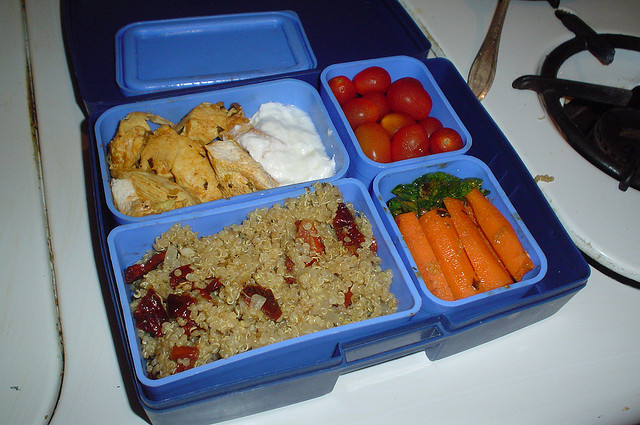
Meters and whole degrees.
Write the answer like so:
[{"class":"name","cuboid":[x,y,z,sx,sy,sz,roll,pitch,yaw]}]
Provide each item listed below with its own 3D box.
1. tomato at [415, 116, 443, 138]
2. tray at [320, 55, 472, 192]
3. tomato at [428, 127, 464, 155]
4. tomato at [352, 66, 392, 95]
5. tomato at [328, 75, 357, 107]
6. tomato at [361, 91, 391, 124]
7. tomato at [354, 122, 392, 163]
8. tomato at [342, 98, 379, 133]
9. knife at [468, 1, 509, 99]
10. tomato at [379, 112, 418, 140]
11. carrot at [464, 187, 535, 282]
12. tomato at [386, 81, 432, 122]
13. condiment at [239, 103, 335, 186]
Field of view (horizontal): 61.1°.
[{"class":"tomato","cuboid":[0.487,-0.388,2.409,0.088,0.054,0.094,22,69,20]},{"class":"tray","cuboid":[0.263,-0.373,2.465,0.593,0.197,0.665,-12,70,-20]},{"class":"tomato","cuboid":[0.551,-0.289,2.397,0.132,0.116,0.120,-17,70,38]},{"class":"tomato","cuboid":[0.230,-0.611,2.533,0.197,0.160,0.152,10,8,39]},{"class":"tomato","cuboid":[0.088,-0.577,2.467,0.100,0.108,0.100,-2,8,-5]},{"class":"tomato","cuboid":[0.258,-0.489,2.520,0.129,0.160,0.133,5,18,24]},{"class":"tomato","cuboid":[0.222,-0.292,2.410,0.184,0.211,0.260,4,8,15]},{"class":"tomato","cuboid":[0.170,-0.438,2.406,0.169,0.155,0.147,-9,9,0]},{"class":"knife","cuboid":[0.798,-0.774,2.577,0.096,0.039,0.772,17,66,0]},{"class":"tomato","cuboid":[0.342,-0.405,2.461,0.134,0.110,0.111,3,27,5]},{"class":"carrot","cuboid":[0.732,0.085,2.276,0.138,0.133,0.434,-25,71,11]},{"class":"tomato","cuboid":[0.391,-0.497,2.509,0.230,0.182,0.201,1,81,2]},{"class":"condiment","cuboid":[-0.150,-0.301,2.363,0.369,0.126,0.379,-11,55,-11]}]
